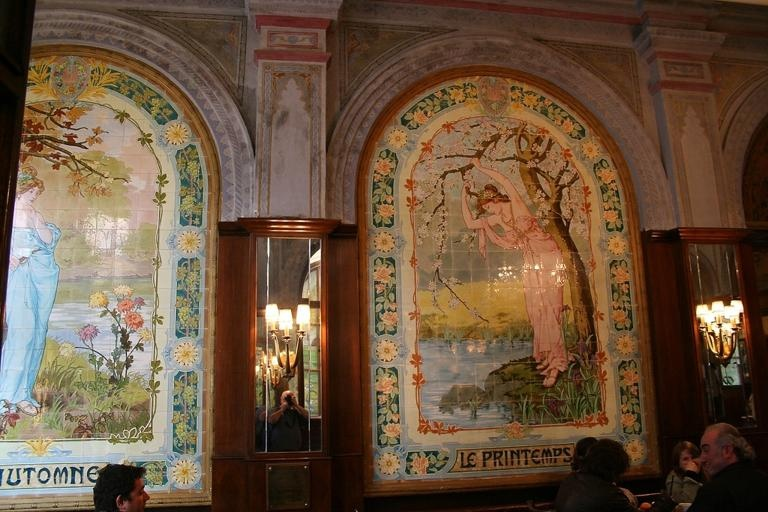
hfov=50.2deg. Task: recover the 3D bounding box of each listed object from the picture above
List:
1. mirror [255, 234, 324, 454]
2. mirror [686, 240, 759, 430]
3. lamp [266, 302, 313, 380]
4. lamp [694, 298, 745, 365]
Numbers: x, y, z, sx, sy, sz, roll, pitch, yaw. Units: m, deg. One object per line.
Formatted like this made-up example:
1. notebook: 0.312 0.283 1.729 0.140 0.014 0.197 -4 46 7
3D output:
1. mirror: -0.950 0.867 8.054 0.794 2.282 0.078 1 -1 -26
2. mirror: 3.577 0.920 8.800 0.793 2.515 0.148 -11 14 7
3. lamp: -0.933 0.815 8.098 0.438 0.655 0.366 -2 9 -12
4. lamp: 3.631 0.830 8.856 0.472 0.606 0.452 2 -11 -8
